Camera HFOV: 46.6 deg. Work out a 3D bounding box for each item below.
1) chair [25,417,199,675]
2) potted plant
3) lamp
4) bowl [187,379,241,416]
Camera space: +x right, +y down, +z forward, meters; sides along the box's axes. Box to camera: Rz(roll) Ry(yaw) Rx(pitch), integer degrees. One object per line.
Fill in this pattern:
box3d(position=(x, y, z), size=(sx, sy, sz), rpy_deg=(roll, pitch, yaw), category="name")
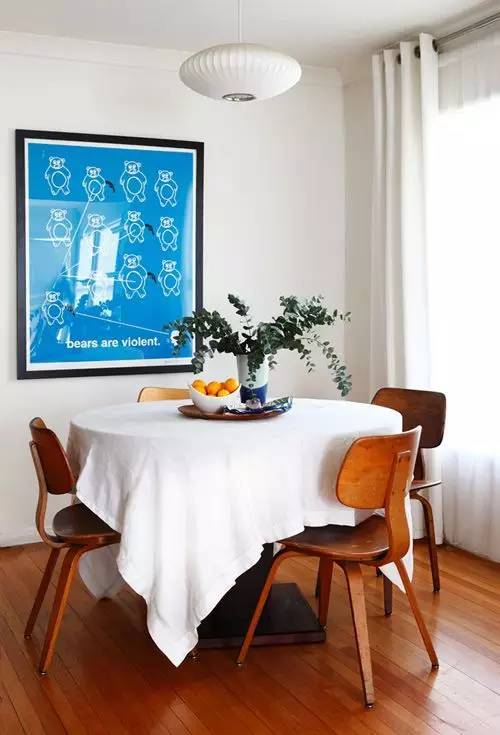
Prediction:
box3d(position=(-0.563, 0.512, 2.125), size=(0.655, 0.965, 0.574), rpy_deg=(0, 5, -19), category="chair")
box3d(position=(0.125, -0.104, 2.273), size=(0.719, 0.410, 0.739), rpy_deg=(9, 3, 37), category="potted plant")
box3d(position=(-0.035, -1.023, 2.054), size=(0.389, 0.089, 0.378), rpy_deg=(-1, -2, 30), category="lamp")
box3d(position=(-0.124, 0.114, 2.095), size=(0.141, 0.084, 0.131), rpy_deg=(2, -7, 0), category="bowl")
